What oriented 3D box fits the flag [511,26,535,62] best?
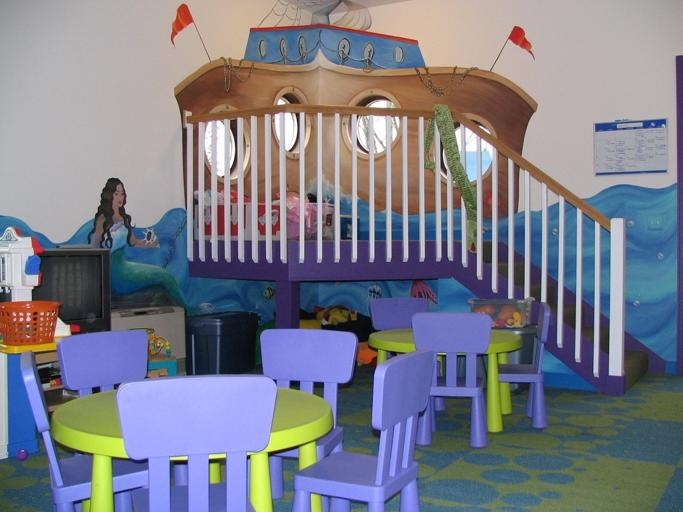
[{"bbox_3d":[2.040,-2.352,6.947,0.162,0.436,0.060,-38,-14,21],"label":"flag"}]

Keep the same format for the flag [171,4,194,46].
[{"bbox_3d":[-1.553,-2.270,6.099,0.021,0.414,0.293,2,5,30],"label":"flag"}]

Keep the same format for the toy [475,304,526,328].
[{"bbox_3d":[1.355,0.500,5.220,0.334,0.155,0.283,-1,-1,4],"label":"toy"}]

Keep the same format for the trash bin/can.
[{"bbox_3d":[-1.143,0.834,6.036,0.457,0.650,0.841,1,1,24],"label":"trash bin/can"}]
